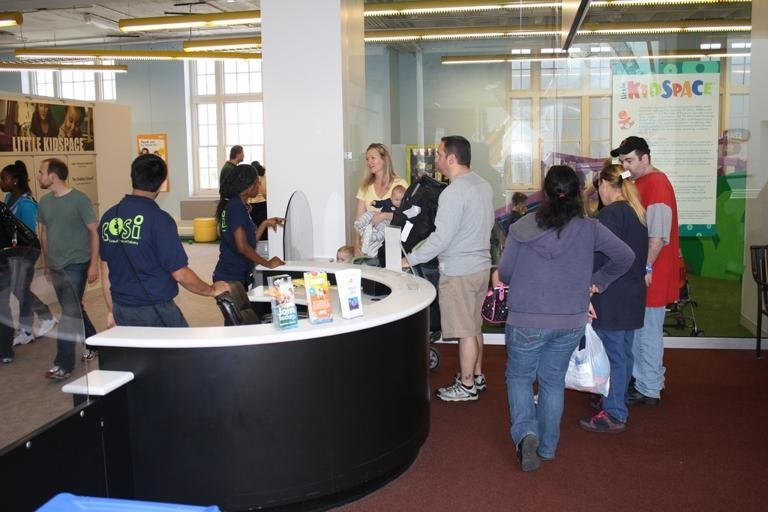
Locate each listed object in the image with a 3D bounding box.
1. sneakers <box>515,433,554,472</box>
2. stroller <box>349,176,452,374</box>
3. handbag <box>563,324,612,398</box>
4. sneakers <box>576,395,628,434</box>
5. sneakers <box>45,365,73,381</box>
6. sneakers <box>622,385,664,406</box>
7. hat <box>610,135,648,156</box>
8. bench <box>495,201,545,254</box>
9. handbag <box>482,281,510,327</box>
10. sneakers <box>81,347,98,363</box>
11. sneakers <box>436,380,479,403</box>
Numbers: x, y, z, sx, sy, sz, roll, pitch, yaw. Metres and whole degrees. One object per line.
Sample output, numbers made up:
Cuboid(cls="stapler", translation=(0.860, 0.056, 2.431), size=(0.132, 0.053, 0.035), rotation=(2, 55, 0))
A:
Cuboid(cls="sneakers", translation=(1.024, 1.311, 4.023), size=(0.133, 0.334, 0.141), rotation=(-8, 8, -14))
Cuboid(cls="stroller", translation=(0.359, 0.043, 5.884), size=(1.278, 2.199, 1.428), rotation=(0, 1, 5))
Cuboid(cls="handbag", translation=(1.500, 0.733, 4.302), size=(0.278, 0.531, 0.364), rotation=(-9, -2, -31))
Cuboid(cls="sneakers", translation=(1.693, 1.226, 4.613), size=(0.418, 0.260, 0.182), rotation=(7, 11, 28))
Cuboid(cls="sneakers", translation=(-1.727, 0.612, 3.073), size=(0.092, 0.086, 0.211), rotation=(1, -7, -8))
Cuboid(cls="sneakers", translation=(2.189, 1.174, 4.896), size=(0.296, 0.125, 0.116), rotation=(8, 10, 20))
Cuboid(cls="hat", translation=(2.032, -0.909, 4.779), size=(0.272, 0.141, 0.177), rotation=(6, 8, 9))
Cuboid(cls="bench", translation=(1.442, -0.382, 6.296), size=(0.303, 0.600, 0.201), rotation=(3, 44, 17))
Cuboid(cls="handbag", translation=(0.915, 0.371, 4.660), size=(0.170, 0.316, 0.295), rotation=(-5, -11, 41))
Cuboid(cls="sneakers", translation=(-1.655, 0.552, 3.272), size=(0.048, 0.055, 0.120), rotation=(0, -4, -9))
Cuboid(cls="sneakers", translation=(0.636, 1.173, 5.074), size=(0.368, 0.178, 0.150), rotation=(3, 4, 4))
